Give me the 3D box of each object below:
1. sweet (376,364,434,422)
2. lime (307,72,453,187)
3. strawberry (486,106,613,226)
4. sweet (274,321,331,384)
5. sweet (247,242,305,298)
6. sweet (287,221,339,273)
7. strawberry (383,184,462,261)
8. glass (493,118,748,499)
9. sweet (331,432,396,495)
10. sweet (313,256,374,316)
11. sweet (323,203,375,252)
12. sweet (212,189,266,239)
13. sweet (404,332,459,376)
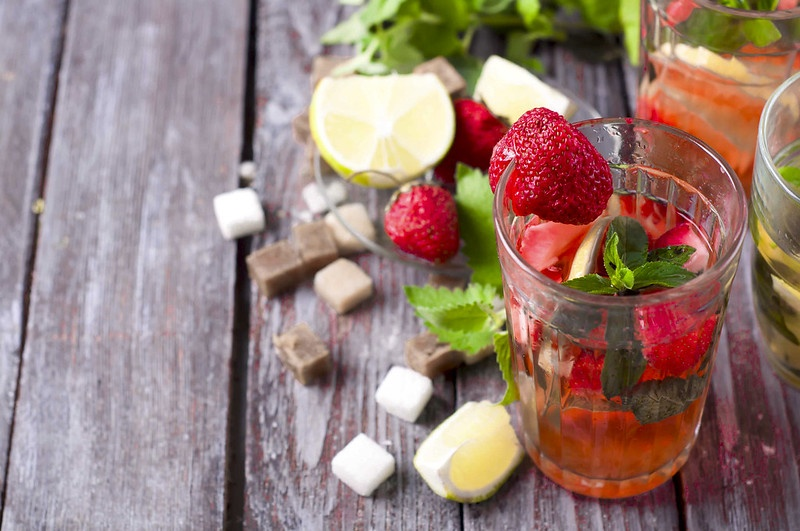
[{"bbox_3d":[0.009,0.194,1.187,0.074,0.041,0.077,35,68,10],"label":"sweet"},{"bbox_3d":[-0.025,-0.224,1.275,0.225,0.086,0.163,-2,67,-6],"label":"lime"},{"bbox_3d":[0.196,-0.126,0.964,0.131,0.076,0.121,5,66,-3],"label":"strawberry"},{"bbox_3d":[-0.149,0.140,1.213,0.058,0.059,0.079,-29,49,-28],"label":"sweet"},{"bbox_3d":[-0.203,0.010,1.281,0.098,0.055,0.108,5,37,15],"label":"sweet"},{"bbox_3d":[-0.139,-0.035,1.270,0.071,0.081,0.074,-22,47,-25],"label":"sweet"},{"bbox_3d":[0.034,-0.067,1.221,0.110,0.067,0.099,1,66,-5],"label":"strawberry"},{"bbox_3d":[0.270,0.063,0.986,0.239,0.398,0.254,27,62,30],"label":"glass"},{"bbox_3d":[-0.053,0.288,1.129,0.074,0.024,0.071,41,70,12],"label":"sweet"},{"bbox_3d":[-0.090,0.032,1.265,0.078,0.038,0.074,-32,73,-17],"label":"sweet"},{"bbox_3d":[-0.081,-0.059,1.260,0.070,0.066,0.079,-11,74,-11],"label":"sweet"},{"bbox_3d":[-0.273,-0.088,1.323,0.077,0.039,0.080,-20,70,-13],"label":"sweet"},{"bbox_3d":[0.054,0.138,1.214,0.087,0.033,0.119,5,20,22],"label":"sweet"}]
